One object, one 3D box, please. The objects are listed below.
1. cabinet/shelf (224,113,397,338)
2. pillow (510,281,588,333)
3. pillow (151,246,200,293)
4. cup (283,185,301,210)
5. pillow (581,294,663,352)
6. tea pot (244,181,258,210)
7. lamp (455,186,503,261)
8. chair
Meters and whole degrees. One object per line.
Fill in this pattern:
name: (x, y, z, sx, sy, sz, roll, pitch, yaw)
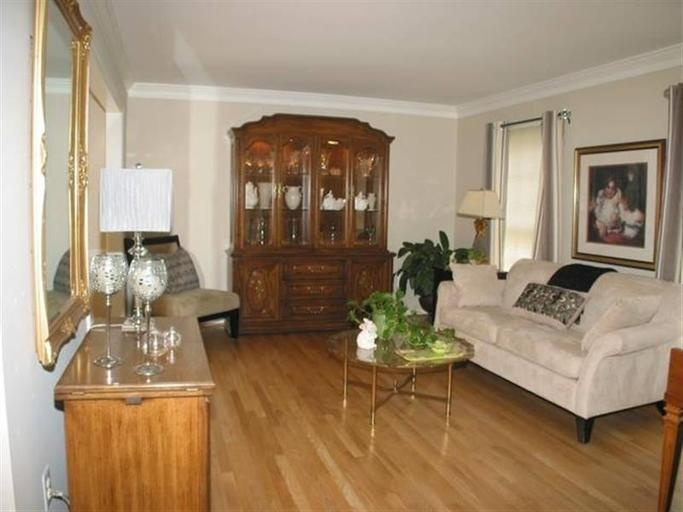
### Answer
cabinet/shelf: (-0.440, -0.332, 5.732, 2.395, 3.094, 0.999, -2, 6, -19)
pillow: (1.750, 0.403, 4.310, 0.135, 0.327, 0.501, 36, -5, -21)
pillow: (-1.686, 0.144, 5.382, 0.162, 0.542, 0.555, -20, 4, 21)
cup: (-0.550, -0.669, 5.838, 0.242, 0.270, 0.200, 0, 2, -6)
pillow: (1.964, 0.466, 3.603, 0.651, 0.383, 0.187, -3, 11, -26)
tea pot: (-0.996, -0.675, 5.685, 0.136, 0.307, 0.056, -1, 10, -14)
lamp: (1.538, -0.329, 5.718, 0.438, 0.838, 0.915, 4, 10, 17)
chair: (-1.612, 0.328, 5.357, 0.834, 1.084, 0.752, 1, 7, 28)
